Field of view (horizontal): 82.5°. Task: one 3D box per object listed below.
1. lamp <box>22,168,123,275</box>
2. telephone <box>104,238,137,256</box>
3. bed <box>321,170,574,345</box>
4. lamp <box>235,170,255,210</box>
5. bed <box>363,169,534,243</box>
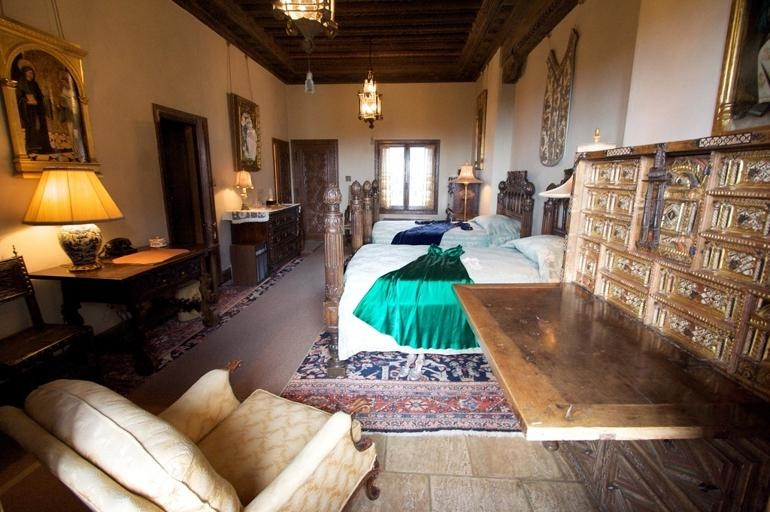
[{"bbox_3d":[-2.596,-0.336,3.868,0.804,0.883,0.809,5,10,30],"label":"lamp"},{"bbox_3d":[-2.555,-0.081,4.188,0.204,0.123,0.196,-2,12,-13],"label":"telephone"},{"bbox_3d":[0.589,0.148,4.406,2.169,1.399,1.398,-5,32,-1],"label":"bed"},{"bbox_3d":[-2.142,-1.007,6.595,0.226,0.563,0.692,-5,12,-18],"label":"lamp"},{"bbox_3d":[0.970,-0.556,6.201,1.844,1.124,1.259,1,15,4],"label":"bed"}]
